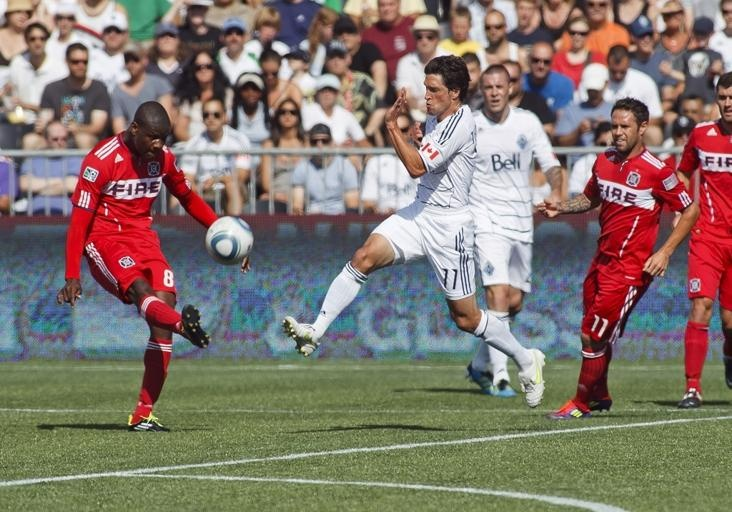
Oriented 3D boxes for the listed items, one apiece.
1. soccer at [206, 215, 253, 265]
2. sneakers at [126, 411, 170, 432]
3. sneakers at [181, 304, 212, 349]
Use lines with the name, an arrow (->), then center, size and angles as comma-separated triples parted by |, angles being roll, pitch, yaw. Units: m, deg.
soccer -> -1.261, -0.154, 13.966 | 0.437, 0.480, 0.445 | -1, 0, 12
sneakers -> -2.027, 1.550, 13.519 | 0.402, 0.199, 0.159 | 1, -1, -7
sneakers -> -1.505, 0.625, 12.952 | 0.184, 0.467, 0.202 | -19, -7, -31
